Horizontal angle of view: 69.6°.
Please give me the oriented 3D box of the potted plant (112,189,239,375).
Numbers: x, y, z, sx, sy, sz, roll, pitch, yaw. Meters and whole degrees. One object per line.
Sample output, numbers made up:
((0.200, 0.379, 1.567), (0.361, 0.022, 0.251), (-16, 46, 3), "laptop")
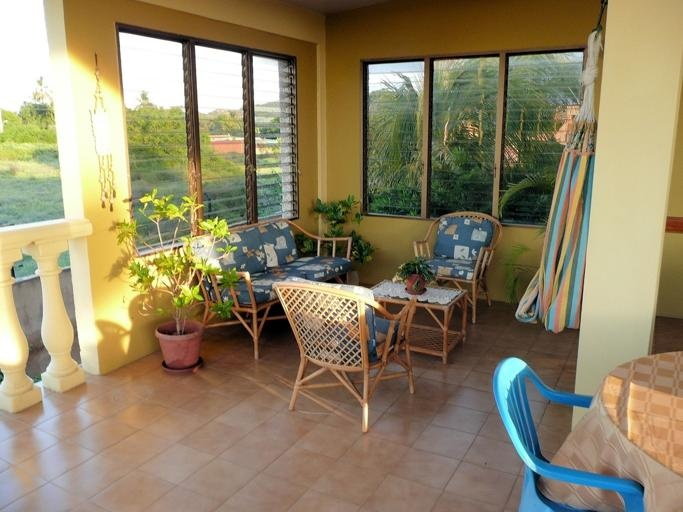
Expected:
((-1.398, 0.152, 4.595), (0.901, 1.563, 1.111), (5, 16, 23), "potted plant")

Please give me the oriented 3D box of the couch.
((-0.678, 0.155, 5.368), (0.900, 0.985, 2.041), (5, 13, 26), "couch")

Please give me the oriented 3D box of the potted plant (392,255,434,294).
((0.714, 0.200, 4.748), (0.314, 0.312, 0.321), (-6, -22, 25), "potted plant")

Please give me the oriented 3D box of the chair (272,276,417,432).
((0.033, 0.629, 3.827), (0.907, 1.085, 0.976), (2, 15, 15), "chair")
